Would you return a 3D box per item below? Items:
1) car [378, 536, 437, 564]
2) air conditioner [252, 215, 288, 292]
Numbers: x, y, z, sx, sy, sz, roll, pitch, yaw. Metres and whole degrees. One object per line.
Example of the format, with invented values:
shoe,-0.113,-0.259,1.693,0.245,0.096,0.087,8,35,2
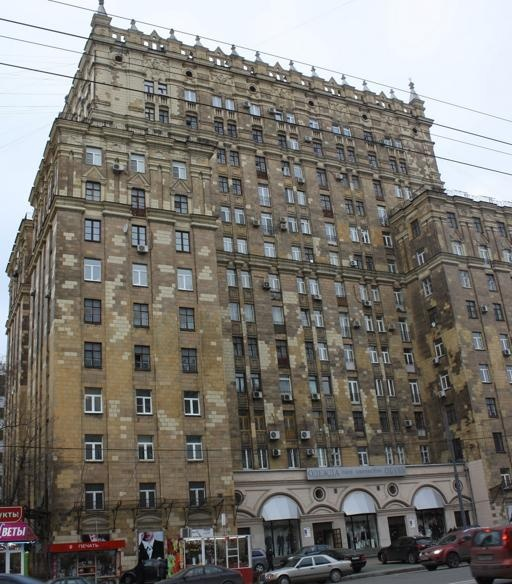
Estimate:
car,8.162,14.449,36.630,1.680,1.375,3.470,15,-26,-36
air conditioner,1.138,-3.482,52.767,1.936,7.210,0.927,-3,-15,-13
